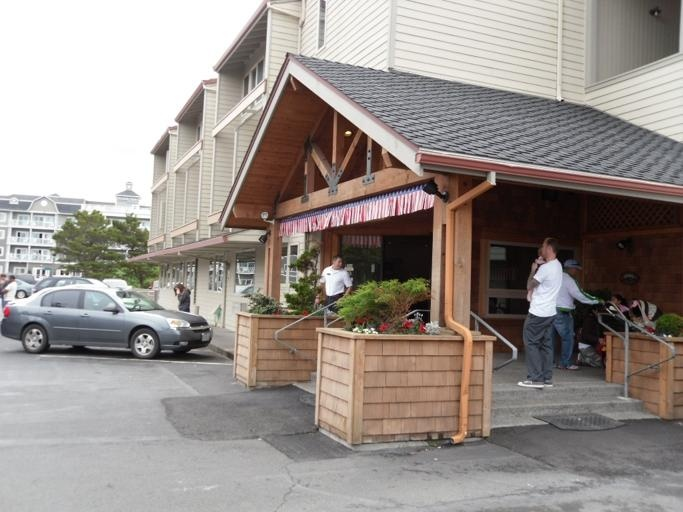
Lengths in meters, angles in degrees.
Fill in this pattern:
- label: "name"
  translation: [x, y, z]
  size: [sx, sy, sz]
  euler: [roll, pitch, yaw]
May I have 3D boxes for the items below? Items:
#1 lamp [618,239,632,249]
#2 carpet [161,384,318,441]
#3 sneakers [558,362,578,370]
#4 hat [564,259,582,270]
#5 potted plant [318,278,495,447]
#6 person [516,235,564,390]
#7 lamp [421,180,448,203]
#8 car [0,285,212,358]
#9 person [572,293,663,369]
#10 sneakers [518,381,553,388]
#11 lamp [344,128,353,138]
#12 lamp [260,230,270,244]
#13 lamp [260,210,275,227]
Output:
- label: "lamp"
  translation: [5.690, -0.236, 12.716]
  size: [0.142, 0.206, 0.358]
  euler: [0, 2, -12]
- label: "carpet"
  translation: [-1.538, 2.391, 9.471]
  size: [2.235, 0.089, 2.727]
  euler: [0, 2, -6]
- label: "sneakers"
  translation: [4.129, 1.997, 11.356]
  size: [0.412, 0.148, 0.131]
  euler: [1, -3, -21]
- label: "hat"
  translation: [4.147, 0.145, 11.150]
  size: [0.404, 0.175, 0.271]
  euler: [-3, 5, -16]
- label: "potted plant"
  translation: [0.802, 1.368, 8.437]
  size: [2.204, 2.088, 1.049]
  euler: [0, 2, -10]
- label: "person"
  translation: [2.949, 0.851, 9.382]
  size: [0.513, 2.223, 0.740]
  euler: [2, 2, 31]
- label: "lamp"
  translation: [1.250, -0.889, 8.644]
  size: [0.344, 0.306, 0.332]
  euler: [0, 2, -20]
- label: "car"
  translation: [-5.711, 1.583, 15.522]
  size: [4.866, 1.319, 1.888]
  euler: [-1, -3, 6]
- label: "person"
  translation: [4.805, 1.320, 10.892]
  size: [0.822, 1.250, 1.247]
  euler: [2, 18, -26]
- label: "sneakers"
  translation: [2.845, 1.913, 9.276]
  size: [0.498, 0.165, 0.164]
  euler: [3, -7, 2]
- label: "lamp"
  translation: [0.114, -2.380, 12.109]
  size: [0.264, 0.229, 0.077]
  euler: [-5, -45, -4]
- label: "lamp"
  translation: [-1.794, -0.456, 14.475]
  size: [0.229, 0.236, 0.420]
  euler: [0, 2, -10]
- label: "lamp"
  translation: [-1.700, -0.873, 14.272]
  size: [0.391, 0.410, 0.241]
  euler: [0, 0, -29]
